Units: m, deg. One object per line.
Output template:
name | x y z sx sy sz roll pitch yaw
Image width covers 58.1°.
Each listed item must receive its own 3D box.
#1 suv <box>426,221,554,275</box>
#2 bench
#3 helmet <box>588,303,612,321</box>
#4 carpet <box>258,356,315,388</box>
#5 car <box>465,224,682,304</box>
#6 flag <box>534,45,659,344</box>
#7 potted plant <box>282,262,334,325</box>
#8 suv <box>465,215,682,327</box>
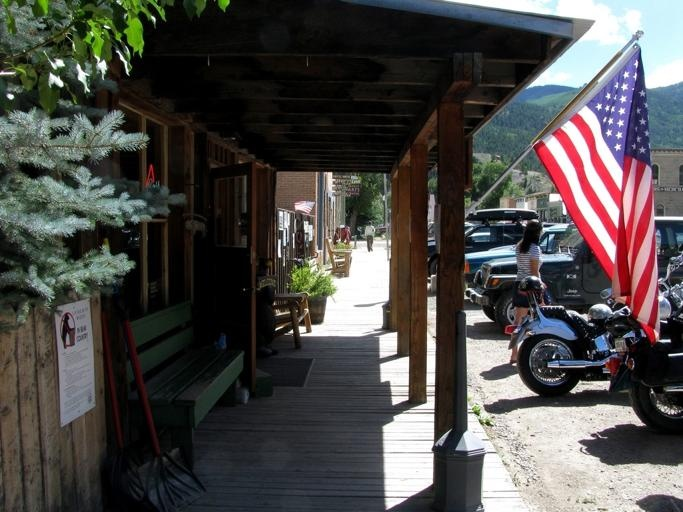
suv | 2.688 -0.148 10.487 2.234 1.256 1.346 0 1 3
bench | -1.402 1.084 5.728 0.642 1.087 2.378 2 0 -1
helmet | 2.875 0.614 6.809 0.176 0.159 0.192 -3 6 1
carpet | -0.720 1.444 7.717 0.732 0.063 1.537 2 5 -3
car | 3.986 0.213 11.178 2.679 1.441 1.748 0 3 0
flag | 2.391 -0.673 5.448 0.579 2.429 1.242 -1 5 -27
potted plant | -0.552 0.710 11.433 0.660 1.045 0.967 4 5 31
suv | 4.068 0.303 11.189 2.978 1.689 2.064 0 3 -1
